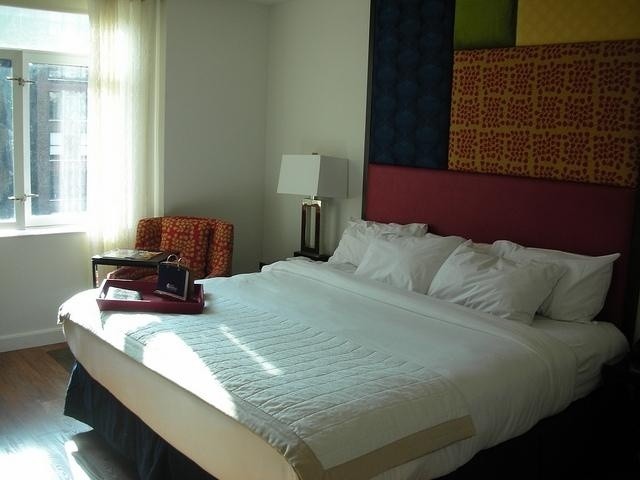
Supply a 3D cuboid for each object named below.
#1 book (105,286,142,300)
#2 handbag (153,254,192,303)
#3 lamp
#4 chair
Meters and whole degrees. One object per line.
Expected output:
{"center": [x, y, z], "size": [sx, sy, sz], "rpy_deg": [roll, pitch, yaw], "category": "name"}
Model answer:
{"center": [-1.325, 0.363, 3.243], "size": [0.221, 0.049, 0.347], "rpy_deg": [-4, 13, -23], "category": "book"}
{"center": [-1.000, 0.250, 3.321], "size": [0.269, 0.271, 0.097], "rpy_deg": [11, 15, 22], "category": "handbag"}
{"center": [-0.086, -0.338, 4.986], "size": [0.388, 1.061, 0.637], "rpy_deg": [-6, 14, -41], "category": "lamp"}
{"center": [-1.317, 0.024, 4.736], "size": [0.727, 0.945, 0.793], "rpy_deg": [3, 2, 2], "category": "chair"}
